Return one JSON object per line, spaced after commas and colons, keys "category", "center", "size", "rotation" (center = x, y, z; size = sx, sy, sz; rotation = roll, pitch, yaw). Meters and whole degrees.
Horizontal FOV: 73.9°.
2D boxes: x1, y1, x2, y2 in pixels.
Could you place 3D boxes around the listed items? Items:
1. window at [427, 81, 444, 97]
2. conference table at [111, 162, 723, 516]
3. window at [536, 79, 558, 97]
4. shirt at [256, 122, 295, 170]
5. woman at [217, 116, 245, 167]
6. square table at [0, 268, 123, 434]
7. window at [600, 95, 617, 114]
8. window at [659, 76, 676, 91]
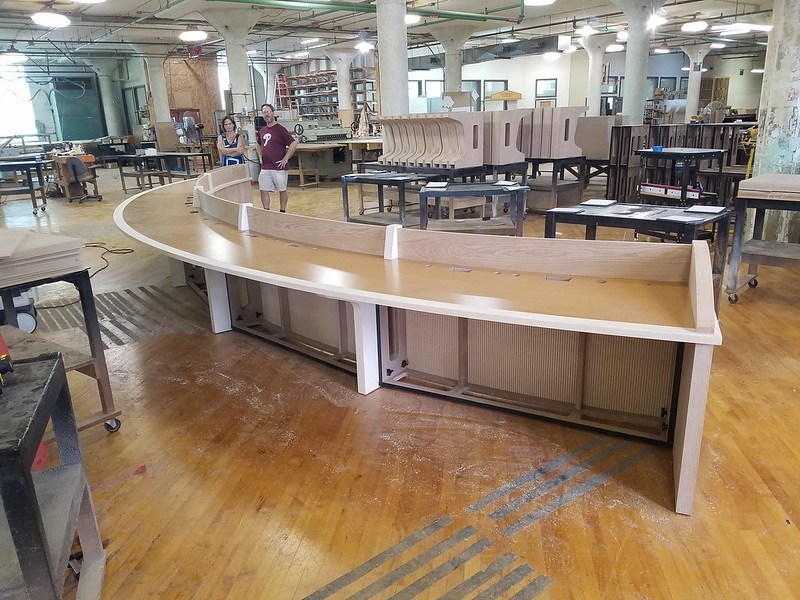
{"category": "window", "center": [1.435, -8.613, 21.738], "size": [0.804, 0.689, 0.511], "rotation": [-9, 20, -22]}
{"category": "conference table", "center": [-0.153, 0.081, 3.364], "size": [3.774, 1.133, 1.003], "rotation": [9, 21, 31]}
{"category": "window", "center": [5.889, -8.440, 21.162], "size": [0.866, 0.655, 0.043], "rotation": [13, 24, 40]}
{"category": "shirt", "center": [-1.877, -2.276, 7.882], "size": [0.706, 0.660, 0.378], "rotation": [15, 26, 36]}
{"category": "woman", "center": [-2.721, -2.552, 8.590], "size": [0.415, 0.776, 1.272], "rotation": [-8, 19, -16]}
{"category": "square table", "center": [-1.789, 0.316, 2.900], "size": [0.347, 0.965, 0.273], "rotation": [-16, 24, -35]}
{"category": "window", "center": [7.271, -6.777, 18.457], "size": [0.541, 0.740, 3.407], "rotation": [5, 18, 19]}
{"category": "window", "center": [11.445, -9.220, 22.620], "size": [1.219, 0.480, 0.206], "rotation": [-14, 22, -35]}
